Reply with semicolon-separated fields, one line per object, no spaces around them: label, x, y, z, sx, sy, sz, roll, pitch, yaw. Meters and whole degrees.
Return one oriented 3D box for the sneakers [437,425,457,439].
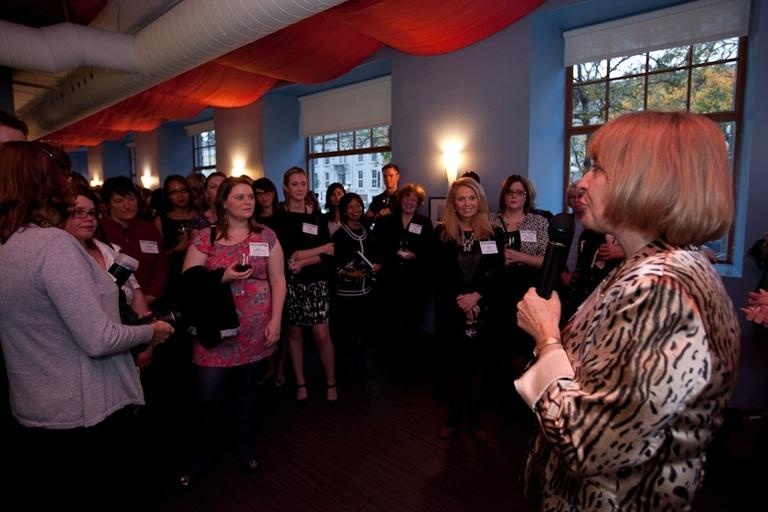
sneakers;0.489;1.360;3.863;0.053;0.066;0.163;-3;-7;38

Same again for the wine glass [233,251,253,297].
wine glass;-0.966;0.134;3.425;0.137;0.305;0.207;-8;13;-20
